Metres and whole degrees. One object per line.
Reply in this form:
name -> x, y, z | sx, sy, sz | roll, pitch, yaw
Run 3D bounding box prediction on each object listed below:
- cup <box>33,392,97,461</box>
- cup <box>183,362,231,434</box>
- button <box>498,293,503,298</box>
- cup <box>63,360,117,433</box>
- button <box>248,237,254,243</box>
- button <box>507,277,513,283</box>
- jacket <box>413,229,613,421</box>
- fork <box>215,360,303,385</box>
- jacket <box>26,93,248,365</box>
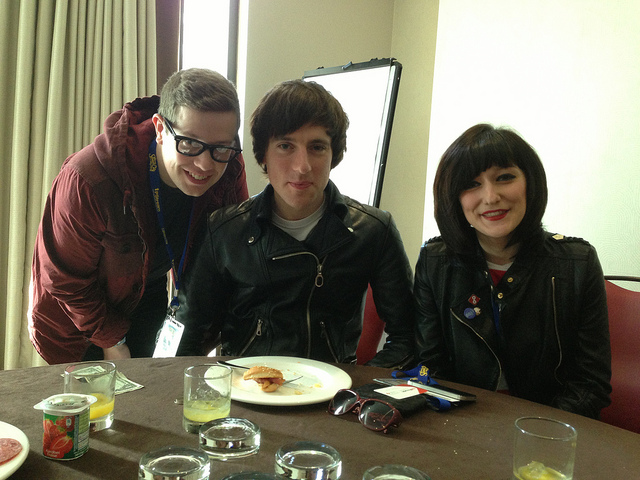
cup -> -0.654, 0.487, 1.357 | 0.147, 0.133, 0.107 | 4, -2, -44
cup -> -0.320, 0.440, 1.479 | 0.132, 0.166, 0.197 | 3, 11, 1
button -> 0.736, 0.225, 2.146 | 0.017, 0.018, 0.006 | 4, 11, 6
cup -> -0.658, 0.449, 1.484 | 0.141, 0.165, 0.146 | 0, -4, 0
button -> -0.308, 0.000, 2.367 | 0.022, 0.022, 0.005 | -29, -39, 22
button -> 0.778, 0.163, 2.153 | 0.020, 0.019, 0.009 | 3, 11, 1
jacket -> 0.791, 0.315, 2.207 | 0.816, 0.670, 0.380 | 9, 12, 28
fork -> -0.203, 0.437, 1.726 | 0.376, 0.046, 0.053 | 10, -14, 4
jacket -> -0.902, 0.018, 2.496 | 0.651, 1.627, 1.009 | 6, 5, 30
